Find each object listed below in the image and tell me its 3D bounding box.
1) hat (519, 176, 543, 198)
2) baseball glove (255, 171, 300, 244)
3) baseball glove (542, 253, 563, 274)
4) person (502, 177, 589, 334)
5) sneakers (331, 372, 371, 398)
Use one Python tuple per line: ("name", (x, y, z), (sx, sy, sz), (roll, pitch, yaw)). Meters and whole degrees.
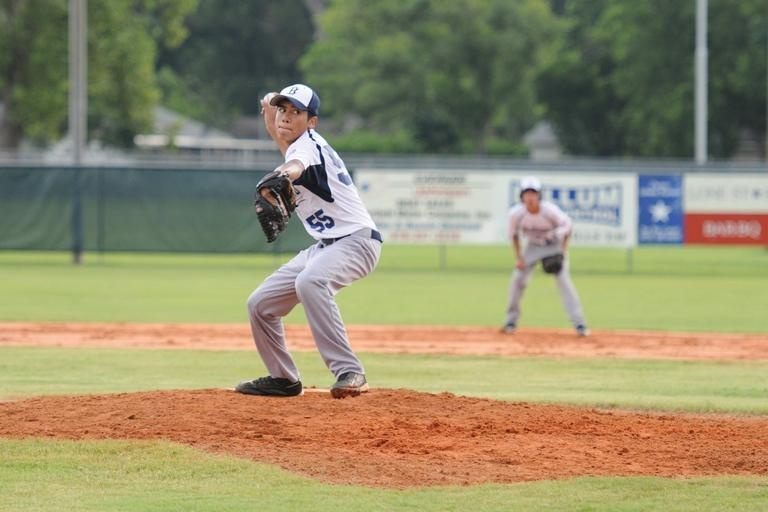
("hat", (2.191, -0.970, 22.118), (0.392, 0.175, 0.562), (-1, -2, 6))
("baseball glove", (-1.261, -0.508, 17.821), (0.610, 0.741, 0.342), (0, 8, -18))
("baseball glove", (2.525, 0.158, 21.977), (0.319, 0.272, 0.245), (5, 1, 33))
("person", (2.356, 0.061, 22.030), (1.218, 2.342, 0.496), (-2, 4, 4))
("sneakers", (-0.417, 1.640, 18.707), (0.238, 0.200, 0.475), (-7, -10, 32))
